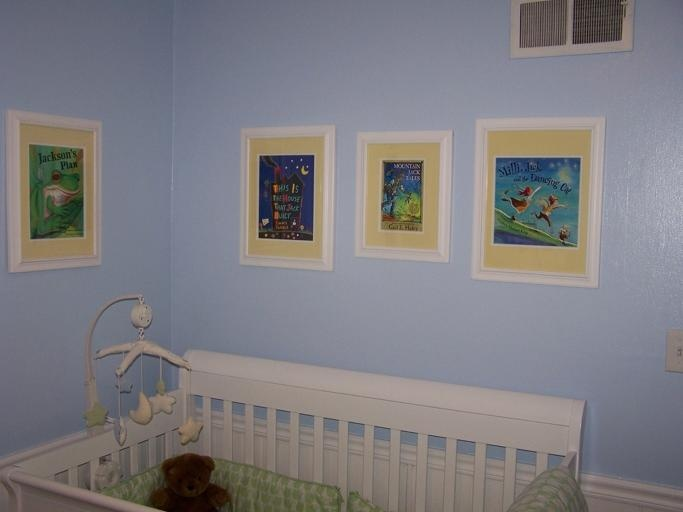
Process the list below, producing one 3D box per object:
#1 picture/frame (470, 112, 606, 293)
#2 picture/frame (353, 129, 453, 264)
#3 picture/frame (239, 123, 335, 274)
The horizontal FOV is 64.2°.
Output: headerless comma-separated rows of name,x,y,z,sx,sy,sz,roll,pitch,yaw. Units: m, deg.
picture/frame,0.703,-0.196,1.895,0.543,0.826,0.053,3,6,21
picture/frame,0.246,-0.234,2.052,0.453,0.676,0.050,1,1,22
picture/frame,-0.208,-0.245,2.208,0.529,0.805,0.052,2,4,24
